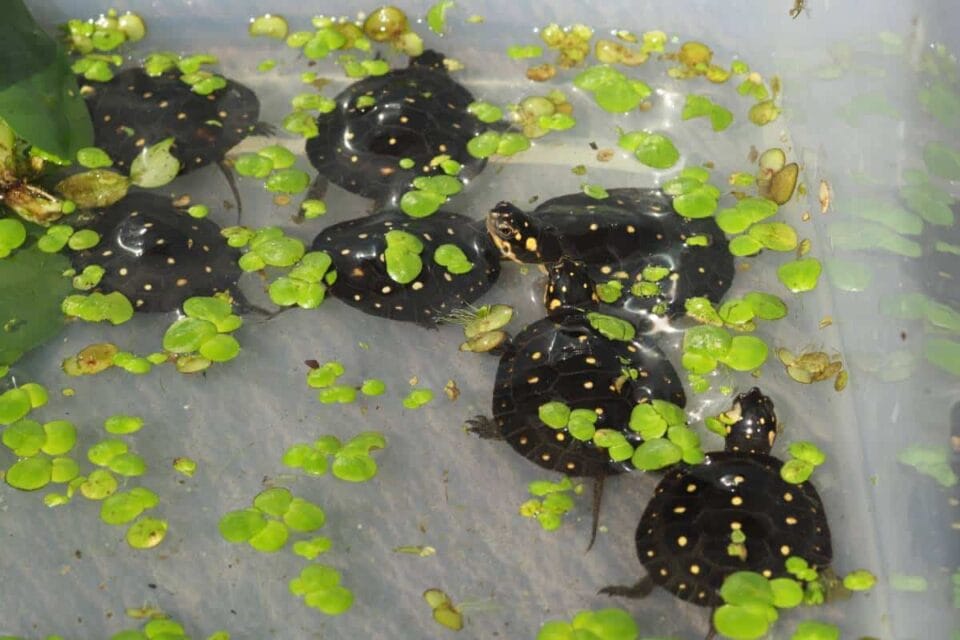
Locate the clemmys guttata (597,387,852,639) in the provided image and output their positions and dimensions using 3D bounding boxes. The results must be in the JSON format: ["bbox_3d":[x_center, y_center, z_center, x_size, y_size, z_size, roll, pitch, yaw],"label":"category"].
[{"bbox_3d":[1.129,1.013,4.680,0.948,0.311,0.798,-38,72,-24],"label":"clemmys guttata"}]

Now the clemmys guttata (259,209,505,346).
[{"bbox_3d":[-0.357,-0.290,5.167,0.900,0.229,0.696,-14,63,-14],"label":"clemmys guttata"}]

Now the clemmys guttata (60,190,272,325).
[{"bbox_3d":[-1.630,-0.289,5.125,0.649,0.156,0.981,-37,71,-24],"label":"clemmys guttata"}]

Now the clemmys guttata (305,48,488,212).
[{"bbox_3d":[-0.450,-0.976,5.502,0.989,0.207,0.841,2,60,-6],"label":"clemmys guttata"}]
